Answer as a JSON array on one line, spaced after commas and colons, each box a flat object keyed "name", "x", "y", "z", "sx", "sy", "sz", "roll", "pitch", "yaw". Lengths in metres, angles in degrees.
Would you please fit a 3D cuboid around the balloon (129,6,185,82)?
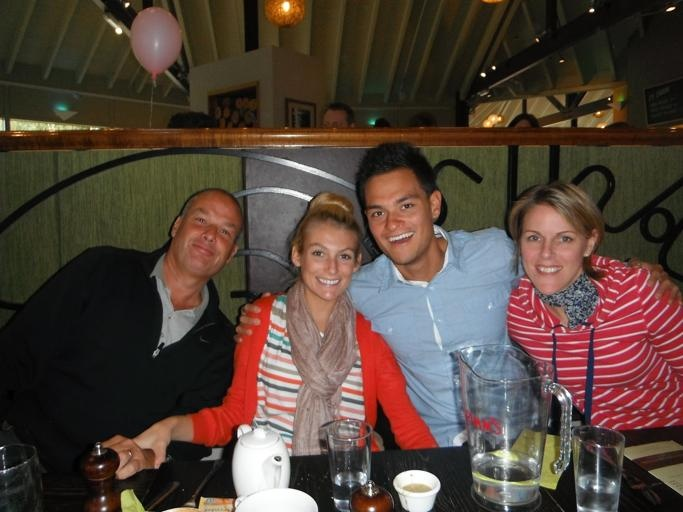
[{"name": "balloon", "x": -1.629, "y": -1.926, "z": 4.488, "sx": 0.412, "sy": 0.554, "sz": 0.383, "roll": -4, "pitch": -5, "yaw": 7}]

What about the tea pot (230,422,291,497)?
[{"name": "tea pot", "x": -0.237, "y": 0.581, "z": 1.477, "sx": 0.125, "sy": 0.146, "sz": 0.193, "roll": 3, "pitch": -3, "yaw": -29}]

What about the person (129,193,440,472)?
[{"name": "person", "x": -0.138, "y": 0.386, "z": 2.121, "sx": 1.203, "sy": 1.214, "sz": 0.659, "roll": 6, "pitch": 5, "yaw": -9}]
